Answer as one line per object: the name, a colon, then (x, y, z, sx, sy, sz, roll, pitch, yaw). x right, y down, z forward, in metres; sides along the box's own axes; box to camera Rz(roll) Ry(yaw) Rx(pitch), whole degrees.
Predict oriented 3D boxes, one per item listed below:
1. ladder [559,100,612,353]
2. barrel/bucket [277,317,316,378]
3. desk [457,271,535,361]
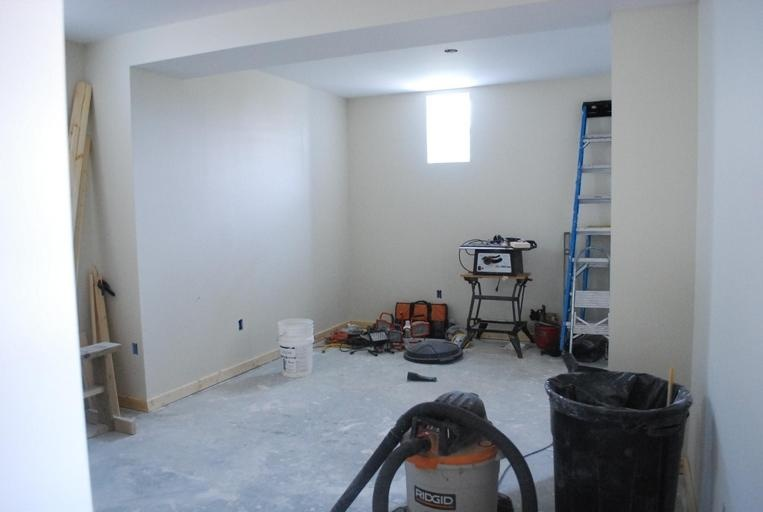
ladder: (2.182, -0.325, 5.864, 0.495, 2.660, 1.063, 2, 9, 21)
barrel/bucket: (-0.844, 0.903, 5.441, 0.331, 0.487, 0.394, -3, 9, -12)
desk: (1.327, 0.661, 6.396, 0.891, 0.960, 0.846, 1, 4, 22)
